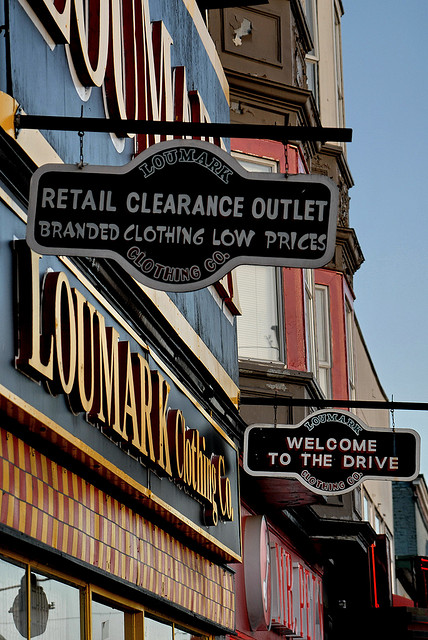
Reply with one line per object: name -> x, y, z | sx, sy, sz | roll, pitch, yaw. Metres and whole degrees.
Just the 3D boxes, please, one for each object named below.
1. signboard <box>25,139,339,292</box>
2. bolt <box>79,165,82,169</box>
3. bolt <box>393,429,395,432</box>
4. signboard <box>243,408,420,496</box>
signboard -> -0.285, -0.665, 11.795 | 1.087, 0.918, 0.025 | 2, -7, 3
bolt -> -0.821, -0.927, 11.207 | 0.015, 0.018, 0.018 | 3, -10, -11
bolt -> 1.641, 0.977, 16.715 | 0.014, 0.020, 0.007 | -9, -19, 23
signboard -> 1.014, 1.205, 17.274 | 1.523, 1.241, 0.031 | 6, -15, 13
